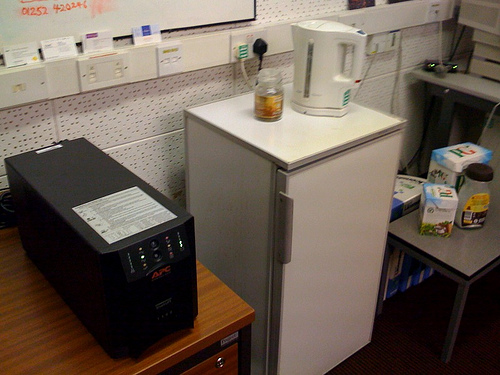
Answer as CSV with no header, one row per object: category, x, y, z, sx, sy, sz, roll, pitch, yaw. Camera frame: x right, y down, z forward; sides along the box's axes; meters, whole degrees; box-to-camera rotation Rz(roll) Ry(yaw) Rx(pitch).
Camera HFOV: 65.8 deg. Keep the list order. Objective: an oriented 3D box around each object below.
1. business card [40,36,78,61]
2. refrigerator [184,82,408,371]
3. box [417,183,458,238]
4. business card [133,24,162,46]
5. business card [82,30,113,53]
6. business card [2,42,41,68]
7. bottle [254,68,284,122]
business card,-0.681,-0.495,1.371,0.115,0.064,0.034,-19,36,-25
refrigerator,0.197,0.244,1.835,0.793,1.220,0.716,-21,37,-28
box,0.923,0.113,1.887,0.167,0.208,0.171,11,34,20
business card,-0.413,-0.604,1.525,0.087,0.053,0.012,-23,33,-34
business card,-0.574,-0.545,1.431,0.083,0.051,0.011,-23,36,-35
business card,-0.783,-0.452,1.311,0.122,0.082,0.025,-21,39,-31
bottle,0.077,-0.374,1.554,0.124,0.194,0.124,0,34,0
